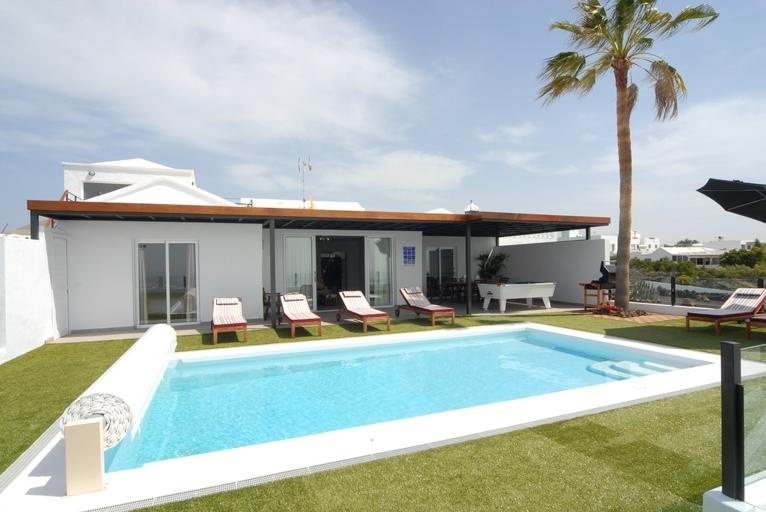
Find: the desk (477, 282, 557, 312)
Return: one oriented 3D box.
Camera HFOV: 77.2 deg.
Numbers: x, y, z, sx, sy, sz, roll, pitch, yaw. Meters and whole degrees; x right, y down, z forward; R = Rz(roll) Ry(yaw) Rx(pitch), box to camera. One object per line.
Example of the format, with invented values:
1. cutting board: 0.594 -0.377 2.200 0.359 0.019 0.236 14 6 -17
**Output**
1. desk: 5.051 1.523 17.959 2.550 0.888 1.191 -2 0 0
